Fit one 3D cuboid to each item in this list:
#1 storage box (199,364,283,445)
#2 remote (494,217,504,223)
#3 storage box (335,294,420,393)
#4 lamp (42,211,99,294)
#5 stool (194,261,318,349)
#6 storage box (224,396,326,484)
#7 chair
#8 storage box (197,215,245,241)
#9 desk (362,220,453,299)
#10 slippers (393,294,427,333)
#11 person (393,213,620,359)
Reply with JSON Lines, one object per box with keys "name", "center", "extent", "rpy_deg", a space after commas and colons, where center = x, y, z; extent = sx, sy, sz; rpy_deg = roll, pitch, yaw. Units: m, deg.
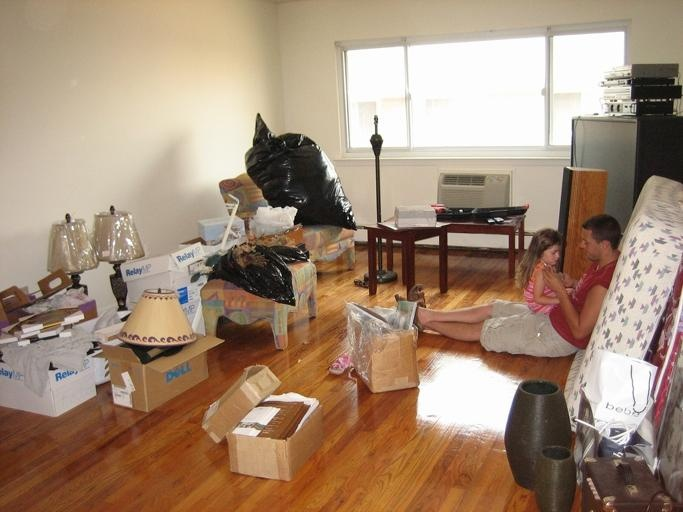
{"name": "storage box", "center": [-0.525, 0.782, 2.533], "extent": [0.468, 0.173, 0.292], "rpy_deg": [-35, -1, 23]}
{"name": "remote", "center": [1.472, -0.341, 4.625], "extent": [0.053, 0.025, 0.102], "rpy_deg": [1, 16, 5]}
{"name": "storage box", "center": [0.251, 0.532, 3.075], "extent": [0.394, 0.481, 0.491], "rpy_deg": [-3, 6, -12]}
{"name": "lamp", "center": [-1.930, -0.006, 3.517], "extent": [0.326, 0.556, 0.319], "rpy_deg": [-6, 10, -26]}
{"name": "stool", "center": [-0.570, 0.288, 3.691], "extent": [0.642, 0.451, 0.670], "rpy_deg": [5, 11, 29]}
{"name": "storage box", "center": [-0.325, 0.871, 2.411], "extent": [0.337, 0.214, 0.464], "rpy_deg": [1, 8, 10]}
{"name": "chair", "center": [-0.585, -0.270, 4.890], "extent": [1.233, 1.028, 0.956], "rpy_deg": [6, 18, 21]}
{"name": "storage box", "center": [-1.010, -0.230, 4.177], "extent": [0.386, 0.177, 0.311], "rpy_deg": [-9, 16, -16]}
{"name": "desk", "center": [0.477, 0.024, 4.633], "extent": [0.554, 0.517, 0.596], "rpy_deg": [1, 2, -3]}
{"name": "slippers", "center": [0.411, 0.347, 3.220], "extent": [0.140, 0.174, 0.412], "rpy_deg": [-7, 11, -23]}
{"name": "person", "center": [1.149, 0.185, 3.339], "extent": [1.300, 0.929, 0.589], "rpy_deg": [4, 14, 21]}
